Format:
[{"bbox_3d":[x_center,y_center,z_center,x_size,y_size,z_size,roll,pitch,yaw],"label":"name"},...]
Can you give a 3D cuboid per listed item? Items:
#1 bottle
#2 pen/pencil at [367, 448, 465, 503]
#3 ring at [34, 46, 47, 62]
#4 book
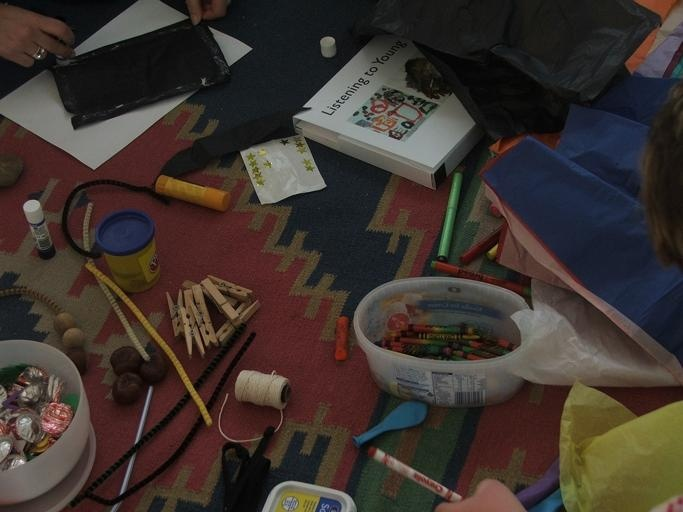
[{"bbox_3d":[-0.536,-0.005,1.506,0.121,0.158,0.138,12,44,6],"label":"bottle"},{"bbox_3d":[0.154,0.457,1.219,0.214,0.026,0.026,38,27,-10],"label":"pen/pencil"},{"bbox_3d":[-0.944,-0.624,1.845,0.033,0.009,0.040,7,87,-4],"label":"ring"},{"bbox_3d":[0.151,-0.431,1.741,0.433,0.098,0.474,30,64,20],"label":"book"}]
